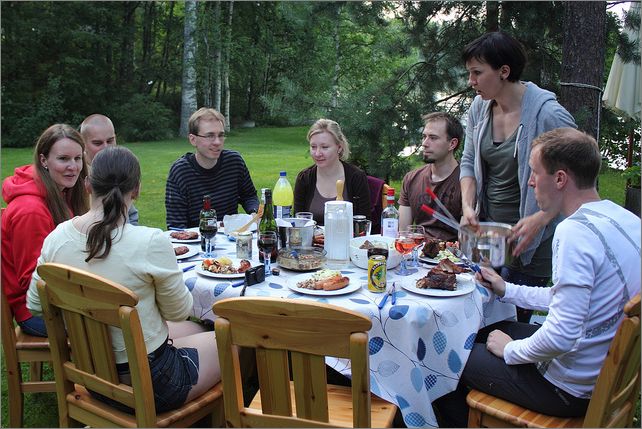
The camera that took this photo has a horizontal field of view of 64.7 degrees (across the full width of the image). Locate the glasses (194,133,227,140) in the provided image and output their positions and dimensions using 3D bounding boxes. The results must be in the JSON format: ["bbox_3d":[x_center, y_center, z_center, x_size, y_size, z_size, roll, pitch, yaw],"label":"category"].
[{"bbox_3d":[-0.961,-0.681,4.410,0.263,0.063,0.129,-2,6,-22],"label":"glasses"}]

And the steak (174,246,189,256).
[{"bbox_3d":[-0.954,0.242,3.443,0.056,0.025,0.092,4,13,8],"label":"steak"}]

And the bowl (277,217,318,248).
[{"bbox_3d":[-0.189,0.158,3.485,0.232,0.205,0.277,4,9,12],"label":"bowl"}]

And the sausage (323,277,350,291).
[{"bbox_3d":[0.088,0.405,2.945,0.132,0.042,0.064,-9,7,-42],"label":"sausage"}]

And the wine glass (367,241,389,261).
[{"bbox_3d":[0.359,0.222,3.201,0.119,0.089,0.120,-2,3,-2],"label":"wine glass"}]

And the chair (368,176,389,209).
[{"bbox_3d":[0.509,-0.218,4.564,0.231,0.295,0.241,0,1,-6],"label":"chair"}]

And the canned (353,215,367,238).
[{"bbox_3d":[0.271,0.083,3.538,0.146,0.154,0.087,-3,9,-19],"label":"canned"}]

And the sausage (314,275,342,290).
[{"bbox_3d":[0.038,0.393,2.954,0.095,0.030,0.090,-14,24,6],"label":"sausage"}]

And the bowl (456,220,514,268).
[{"bbox_3d":[0.971,0.171,3.078,0.271,0.214,0.300,-1,0,3],"label":"bowl"}]
